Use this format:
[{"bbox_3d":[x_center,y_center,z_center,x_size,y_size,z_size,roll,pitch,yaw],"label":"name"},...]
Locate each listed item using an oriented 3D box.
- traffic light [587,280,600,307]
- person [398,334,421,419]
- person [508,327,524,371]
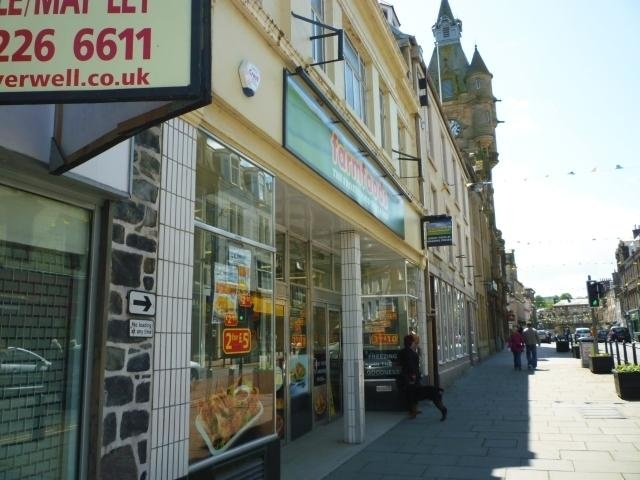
[{"bbox_3d":[9.722,1.853,18.282,0.394,0.931,1.062,-12,-14,26],"label":"traffic light"},{"bbox_3d":[2.049,3.059,11.684,0.423,1.779,0.556,-7,-12,7],"label":"person"},{"bbox_3d":[8.322,4.459,21.744,0.595,1.902,0.534,0,12,37],"label":"person"}]
